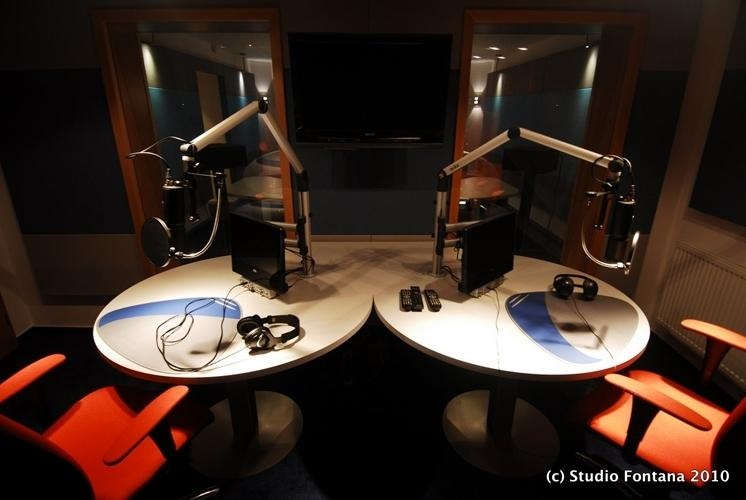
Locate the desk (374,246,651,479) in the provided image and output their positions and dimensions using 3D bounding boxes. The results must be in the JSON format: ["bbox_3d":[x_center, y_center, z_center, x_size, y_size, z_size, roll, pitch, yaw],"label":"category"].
[{"bbox_3d":[0.960,0.950,3.909,1.750,1.095,1.725,6,18,22],"label":"desk"}]

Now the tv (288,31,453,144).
[{"bbox_3d":[-0.032,-1.250,4.039,1.085,0.732,0.094,1,29,-1],"label":"tv"}]

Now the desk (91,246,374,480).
[{"bbox_3d":[-1.003,0.894,3.948,1.804,1.083,1.764,-20,29,-41],"label":"desk"}]

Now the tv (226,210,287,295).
[{"bbox_3d":[-0.855,0.043,3.844,0.572,0.484,0.110,19,28,34],"label":"tv"}]

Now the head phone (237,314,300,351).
[{"bbox_3d":[-0.659,0.525,3.464,0.319,0.133,0.238,-13,24,-36],"label":"head phone"}]

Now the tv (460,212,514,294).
[{"bbox_3d":[0.833,0.042,3.828,0.494,0.447,0.173,-20,30,-30],"label":"tv"}]

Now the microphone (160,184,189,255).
[{"bbox_3d":[-1.223,-0.222,3.289,0.151,0.387,0.280,-11,29,-20],"label":"microphone"}]
